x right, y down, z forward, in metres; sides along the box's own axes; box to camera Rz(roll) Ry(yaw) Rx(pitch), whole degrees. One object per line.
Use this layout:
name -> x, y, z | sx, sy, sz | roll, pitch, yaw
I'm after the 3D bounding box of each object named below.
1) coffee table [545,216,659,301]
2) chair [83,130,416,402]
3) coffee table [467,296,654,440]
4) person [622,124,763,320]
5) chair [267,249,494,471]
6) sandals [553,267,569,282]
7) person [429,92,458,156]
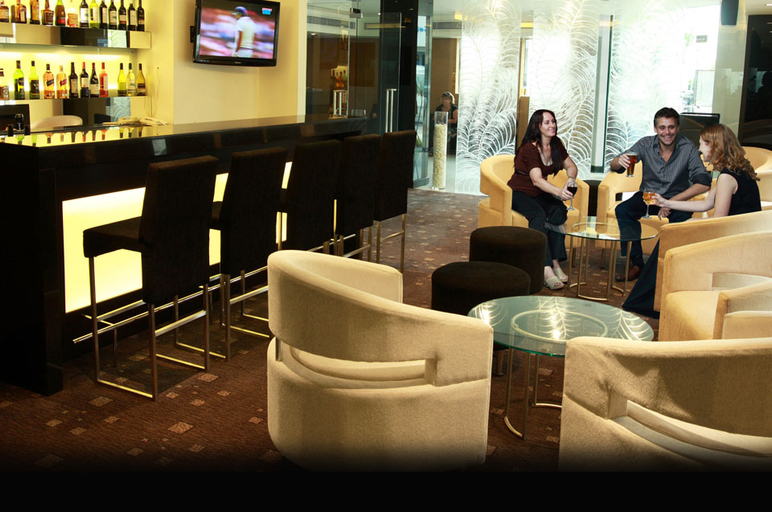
coffee table -> 1.930, -0.080, 5.381 | 0.880, 0.556, 0.882 | 1, 15, 7
chair -> -1.016, 0.061, 3.816 | 0.423, 0.809, 1.834 | 10, 16, 30
coffee table -> 0.941, 0.449, 3.425 | 0.887, 0.566, 0.889 | 1, 13, -4
person -> 2.780, -0.379, 5.286 | 1.079, 1.574, 0.569 | -9, 20, 14
chair -> -0.012, 0.606, 3.100 | 1.047, 1.012, 1.180 | -7, 13, -30
sandals -> 1.724, 0.186, 5.775 | 0.090, 0.061, 0.167 | -7, 11, -12
person -> 1.020, -2.278, 10.179 | 0.417, 1.084, 0.395 | 4, 18, 3
